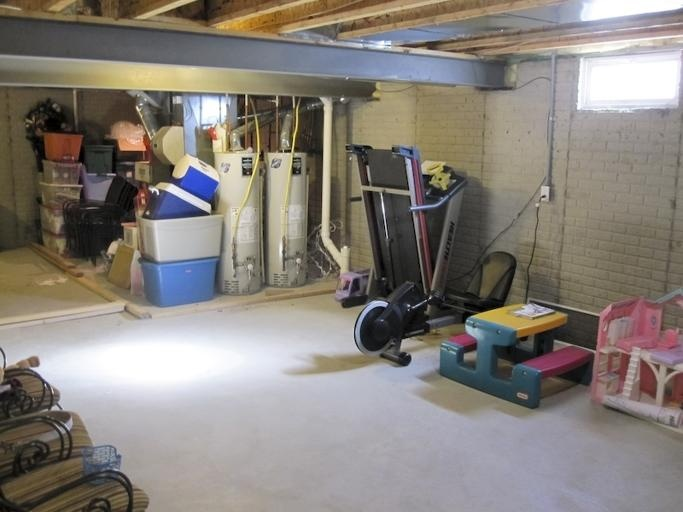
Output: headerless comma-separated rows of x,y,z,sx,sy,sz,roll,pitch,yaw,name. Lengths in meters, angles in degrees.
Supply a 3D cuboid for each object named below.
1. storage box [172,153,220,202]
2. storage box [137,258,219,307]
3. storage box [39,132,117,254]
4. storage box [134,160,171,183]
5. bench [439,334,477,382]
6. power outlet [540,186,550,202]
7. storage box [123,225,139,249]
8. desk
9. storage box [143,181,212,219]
-1.750,-0.952,6.361,0.451,0.407,0.327,16,-8,-8,storage box
-2.109,0.298,6.555,0.885,0.546,0.670,-6,13,-38,storage box
-4.497,-1.012,8.469,1.284,2.044,0.824,2,13,20,storage box
-2.732,-1.193,7.296,0.397,0.269,0.556,-1,7,-40,storage box
1.123,0.960,4.845,0.354,0.326,0.512,11,14,44,bench
2.232,-0.683,5.584,0.046,0.178,0.105,-11,15,-36,power outlet
-2.908,-0.254,7.018,0.111,0.337,0.288,1,9,-31,storage box
1.599,0.811,4.702,0.850,0.541,0.609,-7,10,-37,desk
-2.021,-0.651,6.260,0.690,0.321,0.401,7,8,-37,storage box
